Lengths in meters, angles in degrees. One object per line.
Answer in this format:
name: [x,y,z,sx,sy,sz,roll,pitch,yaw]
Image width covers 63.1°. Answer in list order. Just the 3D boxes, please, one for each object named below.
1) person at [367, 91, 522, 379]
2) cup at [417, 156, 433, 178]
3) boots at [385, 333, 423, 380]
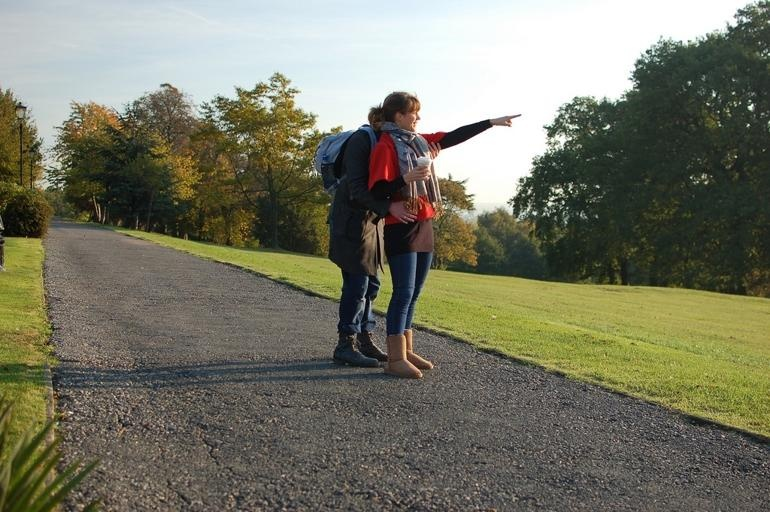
person: [0.313,-0.232,7.073,0.932,3.100,1.308,8,13,20]
cup: [0.444,-0.946,6.644,0.188,0.193,0.194,-2,8,0]
boots: [0.289,1.150,6.908,0.552,0.518,0.278,0,-1,5]
